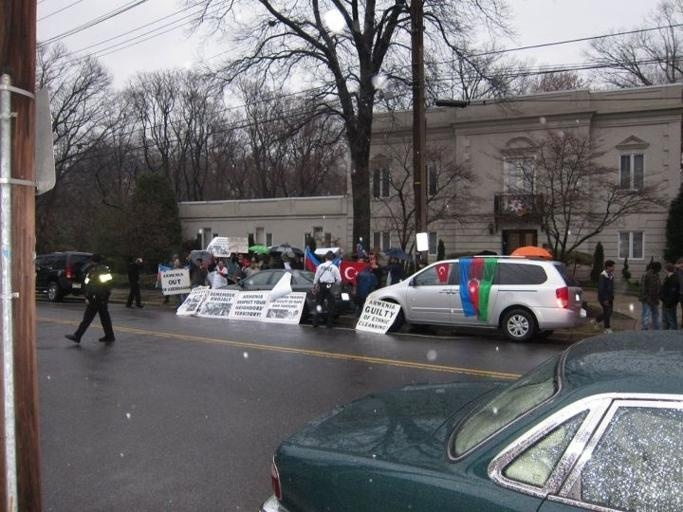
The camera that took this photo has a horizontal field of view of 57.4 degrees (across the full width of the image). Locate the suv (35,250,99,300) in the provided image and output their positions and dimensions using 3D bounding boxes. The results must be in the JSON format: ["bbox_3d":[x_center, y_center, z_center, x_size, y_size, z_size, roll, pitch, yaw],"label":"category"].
[{"bbox_3d":[-10.347,0.753,23.416,2.613,1.579,1.634,8,6,38],"label":"suv"}]

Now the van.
[{"bbox_3d":[3.418,0.976,14.841,4.092,1.731,1.888,3,1,31],"label":"van"}]

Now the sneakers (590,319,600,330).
[{"bbox_3d":[6.505,1.780,15.997,0.273,0.114,0.096,43,13,-39],"label":"sneakers"}]

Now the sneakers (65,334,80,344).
[{"bbox_3d":[-5.788,1.809,13.462,0.246,0.114,0.085,32,-6,-17],"label":"sneakers"}]

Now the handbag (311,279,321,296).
[{"bbox_3d":[-0.679,0.883,16.936,0.108,0.383,0.252,13,-4,-21],"label":"handbag"}]

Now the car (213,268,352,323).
[{"bbox_3d":[-1.351,1.252,18.151,3.243,1.279,1.460,2,0,29],"label":"car"}]
